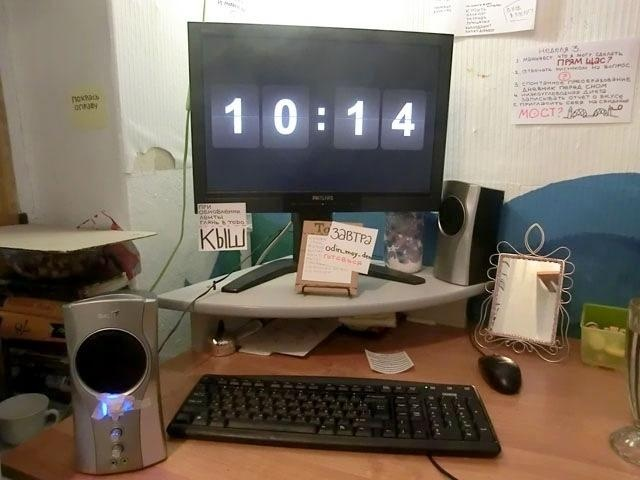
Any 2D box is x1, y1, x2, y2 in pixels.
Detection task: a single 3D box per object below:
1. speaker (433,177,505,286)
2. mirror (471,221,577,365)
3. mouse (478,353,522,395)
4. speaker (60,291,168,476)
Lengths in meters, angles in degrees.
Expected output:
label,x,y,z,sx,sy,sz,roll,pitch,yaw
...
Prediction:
label,x,y,z,sx,sy,sz,roll,pitch,yaw
speaker,0.416,-0.022,1.421,0.152,0.284,0.159,13,14,39
mirror,0.562,0.146,1.334,0.261,0.394,0.028,13,-9,19
mouse,0.435,0.310,1.199,0.091,0.064,0.174,-2,6,2
speaker,-0.390,0.276,0.936,0.168,0.323,0.101,-3,14,-21
